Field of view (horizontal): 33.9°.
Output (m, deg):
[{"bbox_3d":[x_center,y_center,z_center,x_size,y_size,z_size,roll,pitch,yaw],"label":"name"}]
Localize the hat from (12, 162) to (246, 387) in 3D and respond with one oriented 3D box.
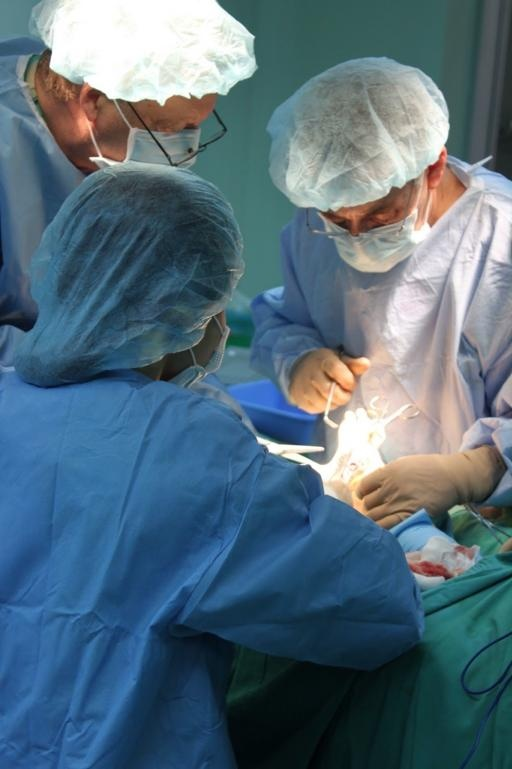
[{"bbox_3d":[-0.240,-0.217,1.547,0.466,0.400,0.320,7,19,-24],"label":"hat"}]
